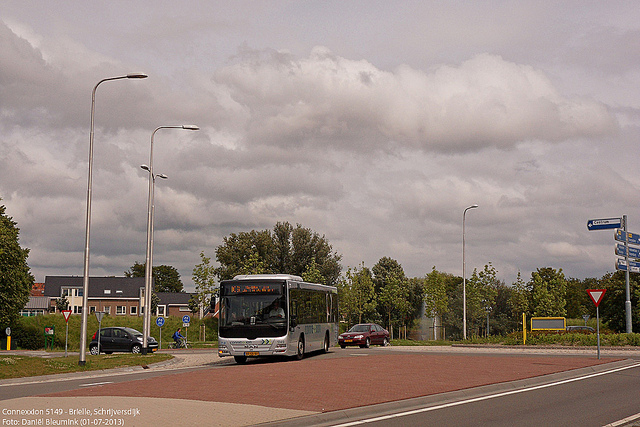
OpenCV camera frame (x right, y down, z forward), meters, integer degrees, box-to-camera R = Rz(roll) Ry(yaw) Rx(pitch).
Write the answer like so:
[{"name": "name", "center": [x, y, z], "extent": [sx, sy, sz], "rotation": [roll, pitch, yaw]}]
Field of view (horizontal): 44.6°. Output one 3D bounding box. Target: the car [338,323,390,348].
[{"name": "car", "center": [3.225, 8.832, 57.213], "extent": [1.497, 2.025, 5.232], "rotation": [-6, -15, 30]}]

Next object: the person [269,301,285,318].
[{"name": "person", "center": [-2.423, 5.316, 43.262], "extent": [0.768, 1.225, 0.686], "rotation": [-3, -22, 3]}]

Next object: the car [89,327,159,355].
[{"name": "car", "center": [-14.255, 9.057, 55.909], "extent": [4.492, 1.941, 1.921], "rotation": [-2, -13, 14]}]
